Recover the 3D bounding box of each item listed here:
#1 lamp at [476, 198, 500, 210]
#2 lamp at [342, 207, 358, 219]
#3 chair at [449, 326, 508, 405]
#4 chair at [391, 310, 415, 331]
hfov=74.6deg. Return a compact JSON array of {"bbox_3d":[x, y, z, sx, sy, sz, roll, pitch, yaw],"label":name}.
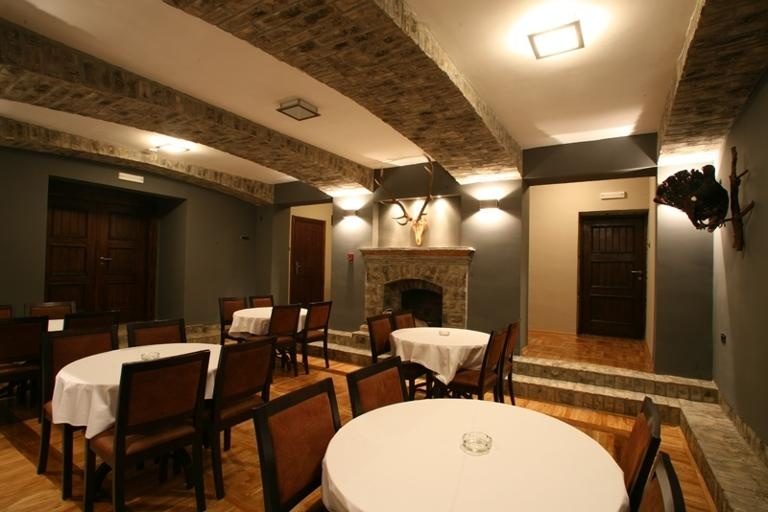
[{"bbox_3d":[1.567,-0.775,7.533,0.272,0.151,0.135,2,-1,19],"label":"lamp"},{"bbox_3d":[-0.589,-0.741,8.886,0.275,0.155,0.183,-2,2,21],"label":"lamp"},{"bbox_3d":[0.986,1.321,5.666,0.684,1.067,0.654,2,3,18],"label":"chair"},{"bbox_3d":[0.241,0.822,6.490,0.226,0.405,0.222,5,-10,-34],"label":"chair"}]
